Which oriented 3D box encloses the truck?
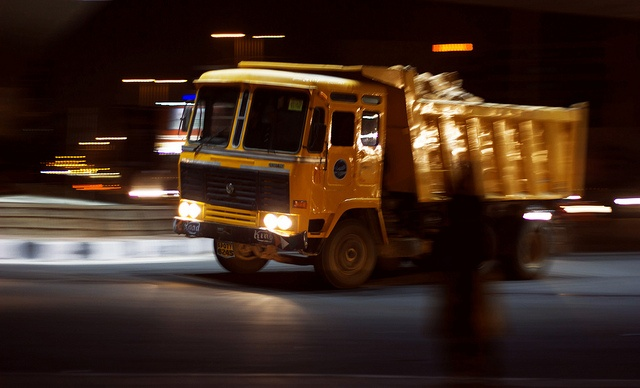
[{"bbox_3d":[1.816,-0.468,14.115,8.636,3.638,4.396,2,-1,-41],"label":"truck"}]
